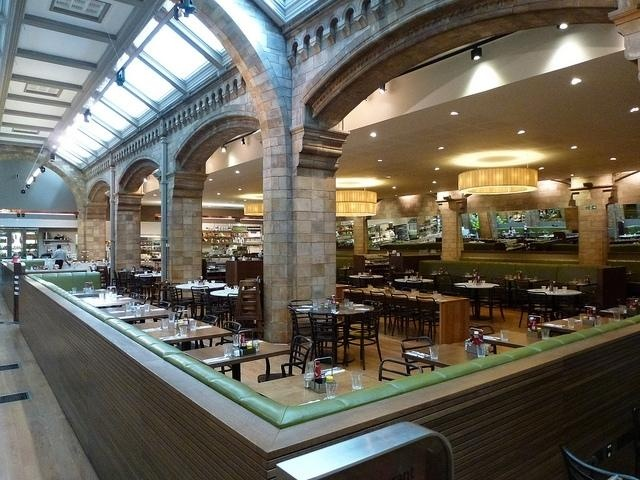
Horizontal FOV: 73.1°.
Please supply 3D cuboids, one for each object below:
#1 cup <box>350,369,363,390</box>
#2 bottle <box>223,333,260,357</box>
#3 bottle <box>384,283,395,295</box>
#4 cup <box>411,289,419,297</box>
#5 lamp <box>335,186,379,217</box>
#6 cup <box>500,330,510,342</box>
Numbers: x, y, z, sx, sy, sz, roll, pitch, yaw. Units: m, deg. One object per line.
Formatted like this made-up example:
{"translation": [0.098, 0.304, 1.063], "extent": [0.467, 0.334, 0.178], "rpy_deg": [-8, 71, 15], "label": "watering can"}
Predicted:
{"translation": [0.323, 1.265, 3.952], "extent": [0.139, 0.157, 0.135], "rpy_deg": [-2, -2, 0], "label": "cup"}
{"translation": [-0.956, 1.249, 5.091], "extent": [0.315, 0.177, 0.303], "rpy_deg": [0, -1, 0], "label": "bottle"}
{"translation": [1.650, 1.188, 10.296], "extent": [0.306, 0.160, 0.288], "rpy_deg": [-1, 0, 0], "label": "bottle"}
{"translation": [2.091, 1.199, 9.572], "extent": [0.125, 0.157, 0.178], "rpy_deg": [2, -4, -12], "label": "cup"}
{"translation": [1.302, -1.273, 15.604], "extent": [1.223, 0.534, 1.122], "rpy_deg": [0, -2, -6], "label": "lamp"}
{"translation": [2.360, 1.232, 5.528], "extent": [0.113, 0.177, 0.105], "rpy_deg": [-1, -6, 0], "label": "cup"}
